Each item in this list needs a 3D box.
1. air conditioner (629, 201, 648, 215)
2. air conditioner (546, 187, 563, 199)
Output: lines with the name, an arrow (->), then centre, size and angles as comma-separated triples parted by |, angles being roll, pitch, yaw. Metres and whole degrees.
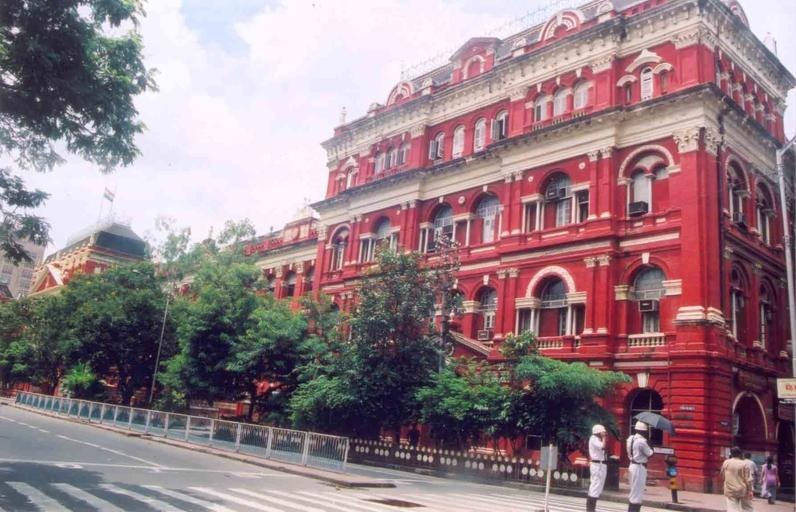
air conditioner -> 13.575, -2.707, 35.689 | 0.793, 0.769, 0.817 | -9, -11, 42
air conditioner -> 9.612, -3.893, 38.847 | 0.724, 0.717, 0.265 | -6, -23, 43
